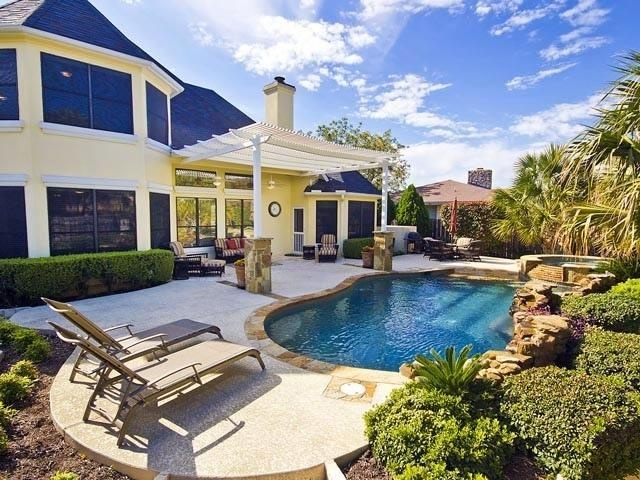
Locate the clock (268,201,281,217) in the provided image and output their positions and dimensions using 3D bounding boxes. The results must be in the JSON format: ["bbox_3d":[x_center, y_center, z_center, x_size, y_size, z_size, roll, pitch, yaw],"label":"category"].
[{"bbox_3d":[-2.157,-1.506,20.210,0.182,0.766,0.895,-1,3,30],"label":"clock"}]

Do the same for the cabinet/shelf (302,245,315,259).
[{"bbox_3d":[-0.492,0.579,19.201,0.583,0.814,0.571,-1,8,-23],"label":"cabinet/shelf"}]

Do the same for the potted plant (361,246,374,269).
[{"bbox_3d":[1.962,0.743,16.837,0.344,0.849,0.626,-4,3,-25],"label":"potted plant"}]

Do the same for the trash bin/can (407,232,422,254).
[{"bbox_3d":[4.949,0.154,22.402,0.922,1.323,1.156,3,5,38],"label":"trash bin/can"}]

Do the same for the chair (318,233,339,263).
[{"bbox_3d":[0.156,0.362,19.049,0.949,1.425,1.140,0,-3,4],"label":"chair"}]

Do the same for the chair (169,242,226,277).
[{"bbox_3d":[-4.345,0.706,14.939,1.763,1.091,1.135,-1,4,-8],"label":"chair"}]

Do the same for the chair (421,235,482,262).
[{"bbox_3d":[6.376,0.457,19.956,2.443,1.123,1.464,-3,3,4],"label":"chair"}]
